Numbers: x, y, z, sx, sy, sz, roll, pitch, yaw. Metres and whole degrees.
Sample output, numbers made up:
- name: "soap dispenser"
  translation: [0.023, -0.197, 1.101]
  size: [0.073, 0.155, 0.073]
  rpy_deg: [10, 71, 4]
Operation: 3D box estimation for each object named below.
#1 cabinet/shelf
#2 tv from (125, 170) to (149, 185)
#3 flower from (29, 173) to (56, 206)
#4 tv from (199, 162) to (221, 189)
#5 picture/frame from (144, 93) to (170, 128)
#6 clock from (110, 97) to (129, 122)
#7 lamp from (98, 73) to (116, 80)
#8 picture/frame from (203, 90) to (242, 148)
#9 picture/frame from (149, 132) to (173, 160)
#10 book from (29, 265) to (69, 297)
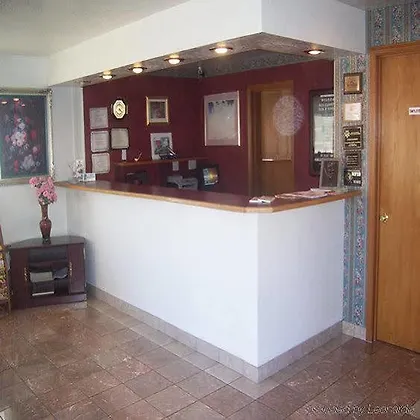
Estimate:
- name: "cabinet/shelf"
  translation: [-1.912, 0.730, 4.453]
  size: [1.005, 1.050, 0.638]
  rpy_deg: [-2, 0, -30]
- name: "tv"
  translation: [-1.205, -0.521, 6.009]
  size: [0.038, 0.217, 0.322]
  rpy_deg: [-5, -3, 25]
- name: "flower"
  translation: [-2.004, -0.225, 4.454]
  size: [0.339, 0.408, 0.332]
  rpy_deg: [-7, -4, 40]
- name: "tv"
  translation: [-0.033, -0.466, 6.424]
  size: [0.334, 0.554, 0.332]
  rpy_deg: [3, -37, -10]
- name: "picture/frame"
  translation: [-0.910, -1.712, 6.405]
  size: [0.364, 0.436, 0.027]
  rpy_deg: [-2, 2, -3]
- name: "clock"
  translation: [-1.423, -1.569, 5.822]
  size: [0.038, 0.298, 0.285]
  rpy_deg: [9, 21, 34]
- name: "lamp"
  translation: [-1.109, -1.455, 4.045]
  size: [0.111, 0.051, 0.126]
  rpy_deg: [-1, 5, 5]
- name: "picture/frame"
  translation: [0.220, -1.629, 6.601]
  size: [0.033, 1.090, 0.874]
  rpy_deg: [-9, 12, -44]
- name: "picture/frame"
  translation: [-0.889, -1.100, 6.468]
  size: [0.020, 0.500, 0.446]
  rpy_deg: [-4, 0, 37]
- name: "book"
  translation: [-1.859, 0.823, 4.289]
  size: [0.291, 0.160, 0.420]
  rpy_deg: [-2, 4, -26]
